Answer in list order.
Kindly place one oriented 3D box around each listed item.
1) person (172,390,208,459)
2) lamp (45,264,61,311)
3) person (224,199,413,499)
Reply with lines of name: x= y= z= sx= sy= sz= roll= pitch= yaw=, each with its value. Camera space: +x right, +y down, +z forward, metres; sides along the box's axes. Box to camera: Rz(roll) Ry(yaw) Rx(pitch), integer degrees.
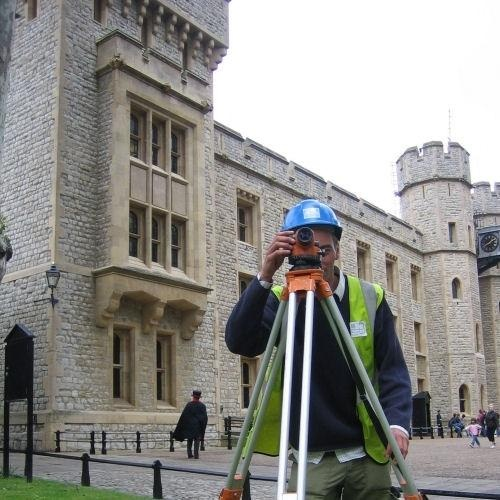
person: x=-1.272 y=3.693 z=15.281 sx=0.661 sy=1.445 sz=1.442 roll=1 pitch=-16 yaw=-5
lamp: x=-4.601 y=0.789 z=16.765 sx=0.328 sy=1.041 sz=0.548 roll=4 pitch=-16 yaw=-16
person: x=0.344 y=0.375 z=3.383 sx=0.907 sy=1.526 sz=0.763 roll=0 pitch=-15 yaw=-2
